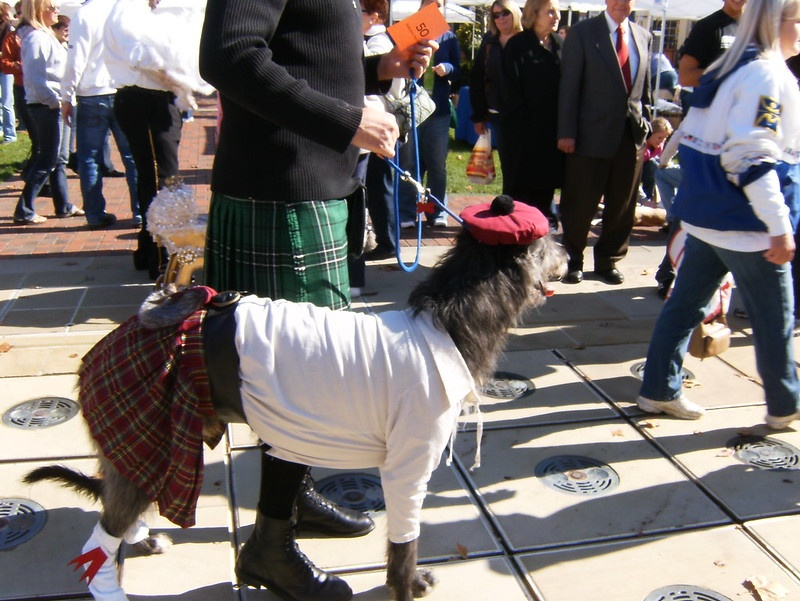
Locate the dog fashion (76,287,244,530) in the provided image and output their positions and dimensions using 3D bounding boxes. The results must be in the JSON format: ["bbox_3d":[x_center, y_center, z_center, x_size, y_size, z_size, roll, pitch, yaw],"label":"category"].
[{"bbox_3d":[-0.923,0.393,2.699,0.640,0.855,0.386,-3,18,-10],"label":"dog fashion"}]

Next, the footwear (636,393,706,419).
[{"bbox_3d":[1.579,0.625,4.146,0.369,0.181,0.152,1,18,3],"label":"footwear"}]

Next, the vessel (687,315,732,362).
[{"bbox_3d":[1.825,0.195,4.130,0.252,0.271,0.144,-16,22,-30],"label":"vessel"}]
